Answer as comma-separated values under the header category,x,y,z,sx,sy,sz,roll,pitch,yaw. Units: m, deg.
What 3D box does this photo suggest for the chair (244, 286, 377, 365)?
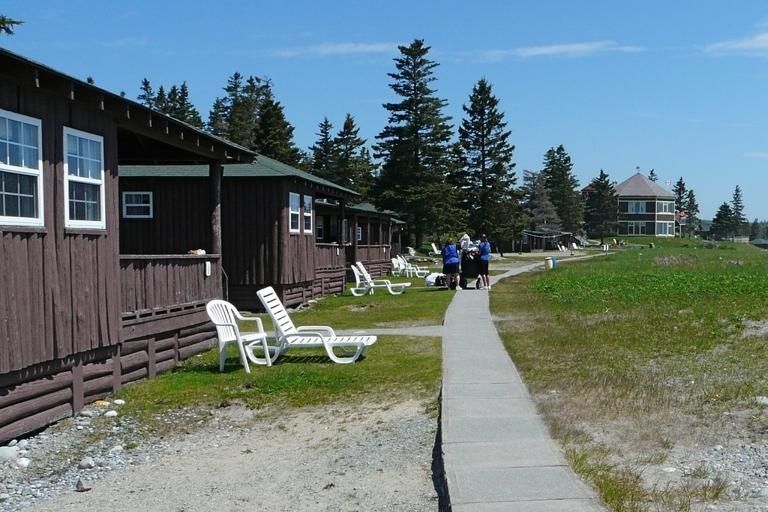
category,x,y,z,sx,sy,sz,roll,pitch,yaw
chair,-1.583,1.519,14.501,2.591,1.711,1.500,-2,1,3

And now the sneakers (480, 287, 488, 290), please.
category,x,y,z,sx,sy,sz,roll,pitch,yaw
sneakers,4.020,1.311,26.327,0.116,0.150,0.340,0,-5,-37

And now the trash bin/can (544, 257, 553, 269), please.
category,x,y,z,sx,sy,sz,roll,pitch,yaw
trash bin/can,10.002,0.469,39.618,0.605,0.687,0.622,-1,-2,-9

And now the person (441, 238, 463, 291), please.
category,x,y,z,sx,sy,sz,roll,pitch,yaw
person,2.704,0.314,26.371,0.655,2.145,1.004,-1,8,5

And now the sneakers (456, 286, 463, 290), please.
category,x,y,z,sx,sy,sz,roll,pitch,yaw
sneakers,3.000,1.318,26.378,0.099,0.210,0.302,3,6,39
